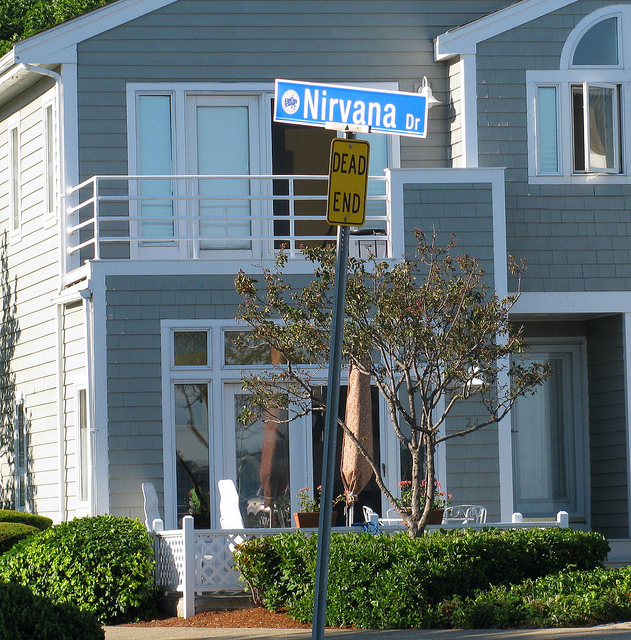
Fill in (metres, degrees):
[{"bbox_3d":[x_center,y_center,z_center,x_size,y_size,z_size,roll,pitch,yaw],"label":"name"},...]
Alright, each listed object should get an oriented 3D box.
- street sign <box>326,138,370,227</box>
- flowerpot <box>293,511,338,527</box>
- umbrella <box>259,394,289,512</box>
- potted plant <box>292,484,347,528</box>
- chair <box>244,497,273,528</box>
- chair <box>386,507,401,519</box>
[{"bbox_3d":[0.291,-1.280,16.402,0.418,0.831,0.229,-3,-4,-6],"label":"street sign"},{"bbox_3d":[0.004,2.426,21.948,0.478,0.170,0.337,1,-6,-3],"label":"flowerpot"},{"bbox_3d":[-0.625,1.938,23.539,0.332,0.388,1.747,13,-33,3],"label":"umbrella"},{"bbox_3d":[0.082,2.333,22.275,0.695,0.678,0.888,-1,-8,-6],"label":"potted plant"},{"bbox_3d":[-0.728,2.427,23.124,0.283,0.362,0.399,-2,-38,9],"label":"chair"},{"bbox_3d":[0.976,2.454,22.830,0.117,0.173,0.170,0,1,13],"label":"chair"}]
